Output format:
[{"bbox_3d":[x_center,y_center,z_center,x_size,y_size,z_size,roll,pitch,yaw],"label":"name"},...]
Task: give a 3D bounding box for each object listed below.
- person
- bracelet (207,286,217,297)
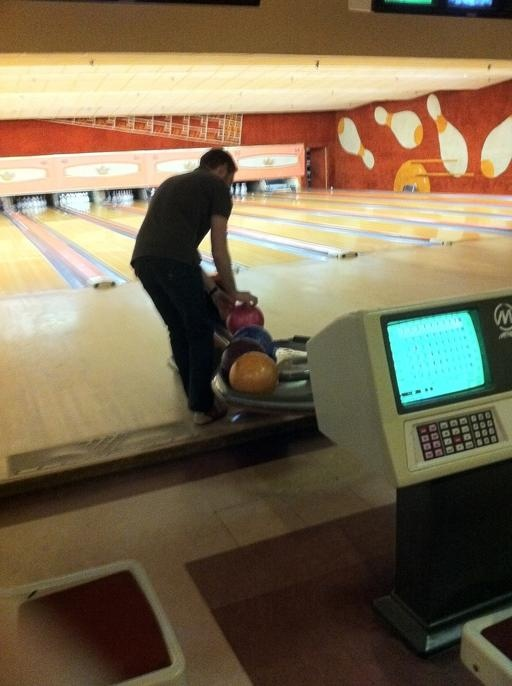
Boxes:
[{"bbox_3d":[-0.188,-0.186,1.480,0.295,0.850,0.353,4,13,34],"label":"person"},{"bbox_3d":[-0.148,-0.174,1.546,0.031,0.028,0.008,-12,10,8],"label":"bracelet"}]
